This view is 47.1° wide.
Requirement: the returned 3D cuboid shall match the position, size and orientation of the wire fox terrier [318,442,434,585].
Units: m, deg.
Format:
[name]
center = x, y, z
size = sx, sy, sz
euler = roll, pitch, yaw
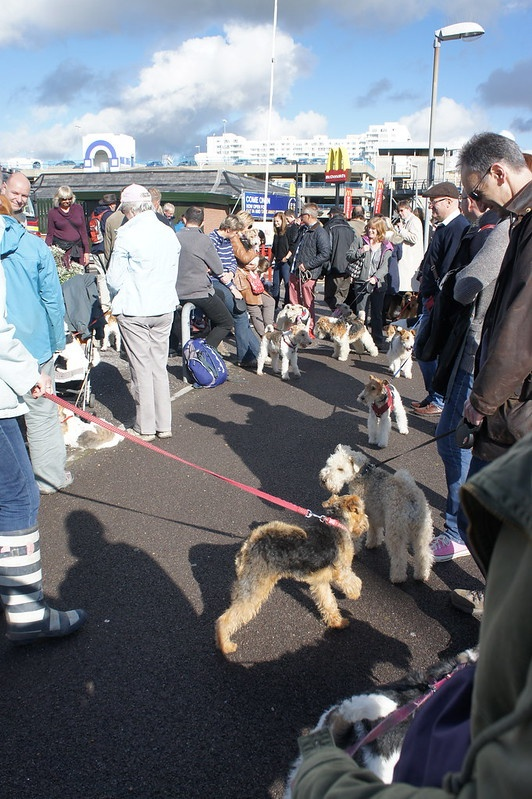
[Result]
[wire fox terrier]
center = 0.761, 0.788, 4.341
size = 0.341, 0.695, 0.988
euler = 2, 11, -38
